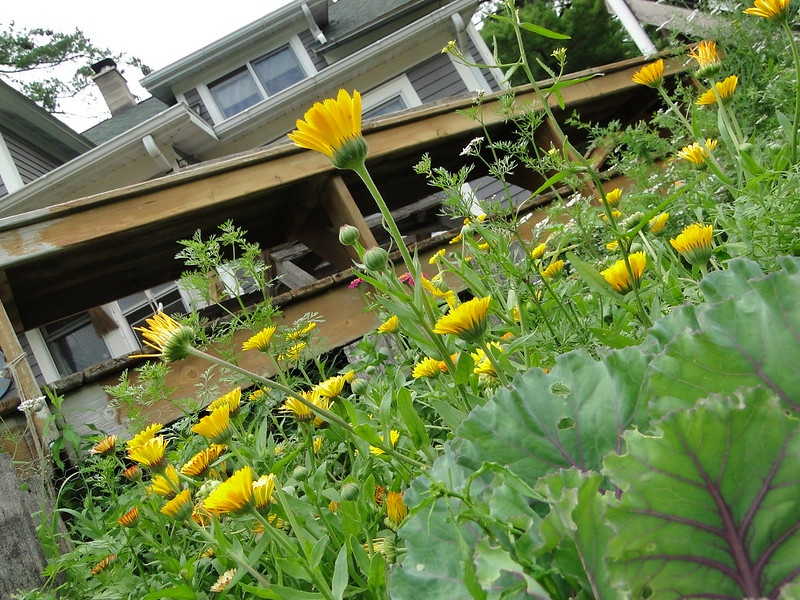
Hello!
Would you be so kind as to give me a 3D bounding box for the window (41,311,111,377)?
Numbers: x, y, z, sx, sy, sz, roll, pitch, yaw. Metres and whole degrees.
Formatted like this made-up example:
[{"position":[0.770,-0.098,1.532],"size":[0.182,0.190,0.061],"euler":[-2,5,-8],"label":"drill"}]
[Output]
[{"position":[-5.188,0.667,8.220],"size":[0.085,1.084,1.189],"euler":[-17,-1,28],"label":"window"}]
